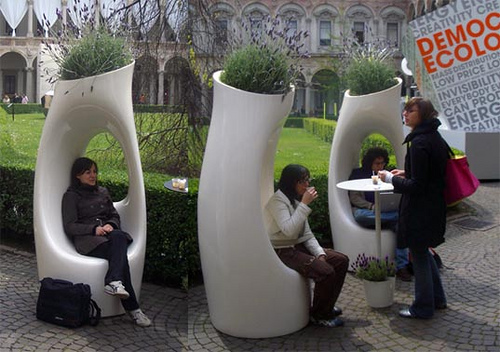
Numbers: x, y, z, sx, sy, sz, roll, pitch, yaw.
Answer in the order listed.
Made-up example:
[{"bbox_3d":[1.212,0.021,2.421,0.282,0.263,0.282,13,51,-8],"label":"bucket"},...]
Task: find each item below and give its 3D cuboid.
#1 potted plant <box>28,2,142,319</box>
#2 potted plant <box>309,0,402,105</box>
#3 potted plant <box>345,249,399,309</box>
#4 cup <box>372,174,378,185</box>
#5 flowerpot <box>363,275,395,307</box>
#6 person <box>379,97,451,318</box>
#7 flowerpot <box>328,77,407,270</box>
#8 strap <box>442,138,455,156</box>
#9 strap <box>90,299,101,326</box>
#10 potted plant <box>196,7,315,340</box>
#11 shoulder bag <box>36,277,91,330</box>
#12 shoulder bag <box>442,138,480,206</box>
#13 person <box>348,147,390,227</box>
[{"bbox_3d":[-1.459,-0.204,4.051,1.056,2.926,0.891,4,8,15],"label":"potted plant"},{"bbox_3d":[0.978,-1.109,4.070,0.849,1.004,0.758,2,8,18],"label":"potted plant"},{"bbox_3d":[1.187,0.976,3.996,0.359,0.425,0.385,-5,6,4],"label":"potted plant"},{"bbox_3d":[1.100,0.040,3.729,0.062,0.063,0.063,1,5,0],"label":"cup"},{"bbox_3d":[1.180,1.075,3.875,0.264,0.224,0.256,1,0,16],"label":"flowerpot"},{"bbox_3d":[1.436,0.274,3.766,0.610,1.894,0.532,1,4,39],"label":"person"},{"bbox_3d":[1.411,-0.116,4.562,0.839,1.937,0.721,11,31,35],"label":"flowerpot"},{"bbox_3d":[1.668,-0.226,3.574,0.023,0.112,0.103,-27,10,10],"label":"strap"},{"bbox_3d":[-1.384,1.214,3.791,0.086,0.220,0.135,-1,9,-21],"label":"strap"},{"bbox_3d":[0.030,-0.019,3.556,0.924,2.788,0.543,0,8,-9],"label":"potted plant"},{"bbox_3d":[-1.633,1.132,3.710,0.356,0.319,0.151,6,-1,14],"label":"shoulder bag"},{"bbox_3d":[1.746,-0.019,3.513,0.275,0.512,0.145,7,10,31],"label":"shoulder bag"},{"bbox_3d":[1.304,0.087,4.466,0.545,0.867,0.499,6,-4,-42],"label":"person"}]
